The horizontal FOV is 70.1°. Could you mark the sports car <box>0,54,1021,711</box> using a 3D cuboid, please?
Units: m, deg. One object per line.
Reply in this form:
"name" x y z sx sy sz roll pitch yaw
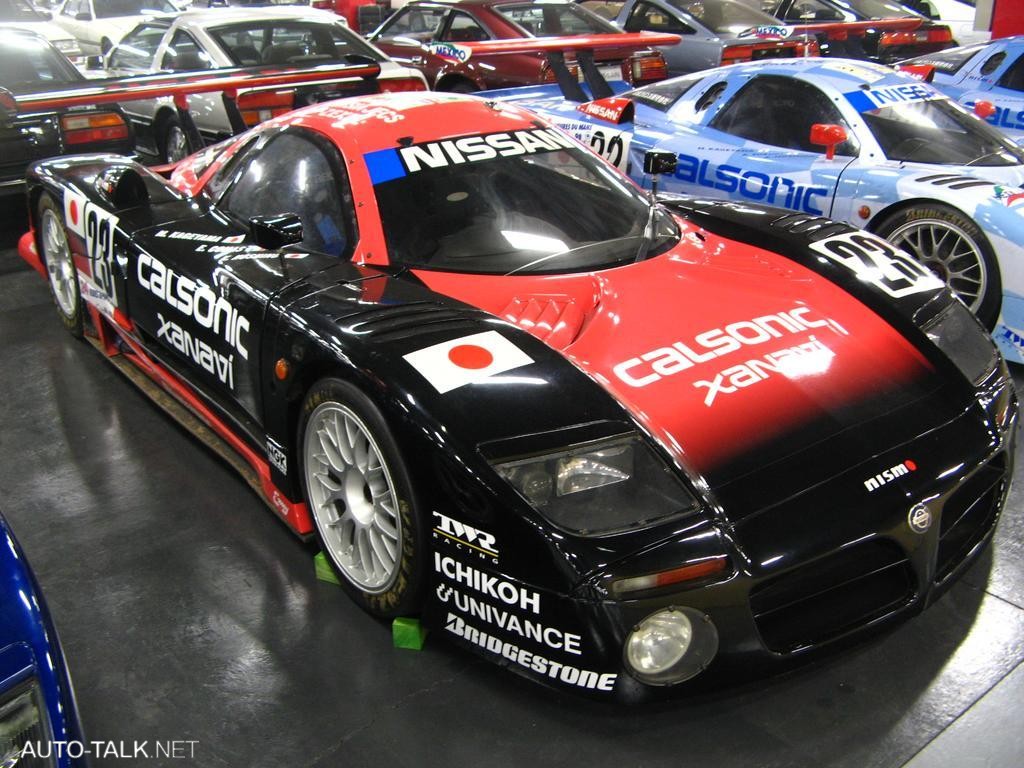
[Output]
"sports car" -0.369 0.015 2.881 3.297 0.860 2.044 30 45 35
